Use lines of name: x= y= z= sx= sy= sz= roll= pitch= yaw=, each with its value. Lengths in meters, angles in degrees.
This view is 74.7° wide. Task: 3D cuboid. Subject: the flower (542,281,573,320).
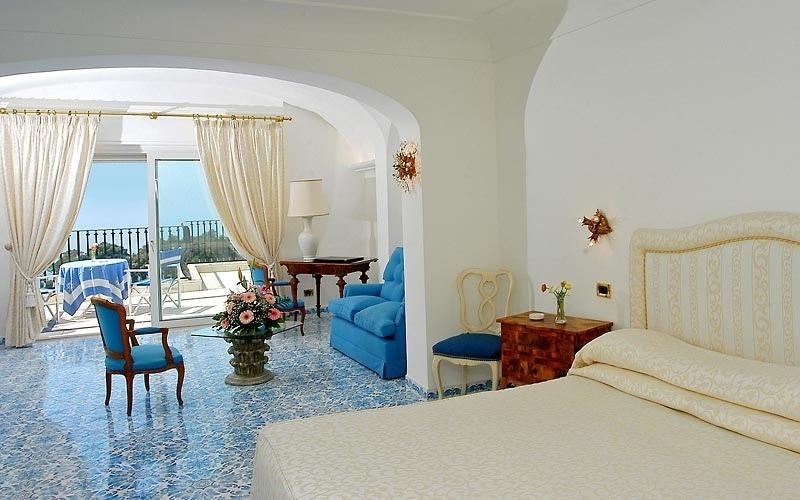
flower: x=1.449 y=0.455 z=4.809 sx=0.357 sy=0.406 sz=0.297 roll=-1 pitch=1 yaw=29

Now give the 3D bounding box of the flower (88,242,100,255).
flower: x=-5.176 y=-0.034 z=8.882 sx=0.181 sy=0.266 sz=0.170 roll=-5 pitch=19 yaw=-31

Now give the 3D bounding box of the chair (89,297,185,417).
chair: x=-2.627 y=1.015 z=5.309 sx=0.793 sy=1.031 sz=0.819 roll=2 pitch=1 yaw=22

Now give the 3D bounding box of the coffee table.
coffee table: x=-1.565 y=1.163 z=5.878 sx=0.803 sy=0.414 sz=0.862 roll=0 pitch=-1 yaw=44

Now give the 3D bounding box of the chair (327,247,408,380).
chair: x=-0.138 y=0.685 z=6.568 sx=1.002 sy=1.336 sz=1.706 roll=-3 pitch=6 yaw=-29

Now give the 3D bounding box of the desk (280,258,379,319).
desk: x=-1.045 y=0.369 z=7.879 sx=1.273 sy=0.869 sz=1.009 roll=0 pitch=0 yaw=17

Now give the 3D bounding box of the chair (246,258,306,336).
chair: x=-1.756 y=0.709 z=7.720 sx=0.755 sy=0.960 sz=0.742 roll=2 pitch=-2 yaw=-21

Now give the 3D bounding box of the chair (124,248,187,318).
chair: x=-3.649 y=0.456 z=7.794 sx=0.726 sy=0.836 sz=0.679 roll=-4 pitch=2 yaw=4
